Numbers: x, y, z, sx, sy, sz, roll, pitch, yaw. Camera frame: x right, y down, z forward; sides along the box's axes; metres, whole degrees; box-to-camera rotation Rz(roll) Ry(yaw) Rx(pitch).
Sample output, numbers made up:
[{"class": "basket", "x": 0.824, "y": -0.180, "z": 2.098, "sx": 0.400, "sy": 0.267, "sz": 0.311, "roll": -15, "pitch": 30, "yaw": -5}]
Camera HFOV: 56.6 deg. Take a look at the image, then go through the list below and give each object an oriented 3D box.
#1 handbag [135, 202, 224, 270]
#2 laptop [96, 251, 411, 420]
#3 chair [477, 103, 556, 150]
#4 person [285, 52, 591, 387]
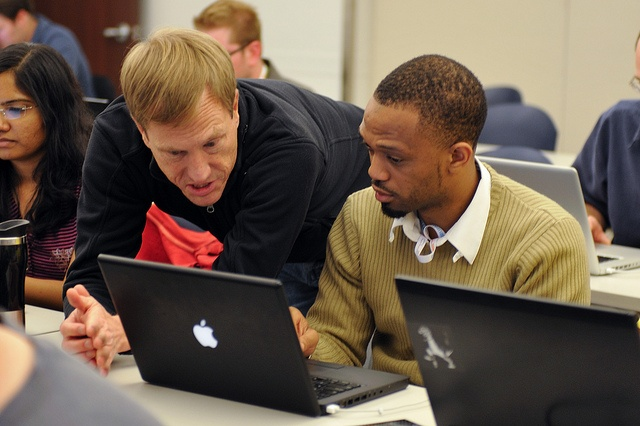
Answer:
[{"class": "handbag", "x": -0.573, "y": 0.124, "z": 2.409, "sx": 0.342, "sy": 0.137, "sz": 0.263, "roll": 9, "pitch": -3, "yaw": -40}, {"class": "laptop", "x": -0.203, "y": 0.168, "z": 1.364, "sx": 0.467, "sy": 0.316, "sz": 0.430, "roll": 4, "pitch": 9, "yaw": 38}, {"class": "chair", "x": 1.200, "y": -0.466, "z": 3.702, "sx": 0.310, "sy": 0.378, "sz": 0.423, "roll": 6, "pitch": 8, "yaw": 14}, {"class": "person", "x": 0.324, "y": 0.057, "z": 1.988, "sx": 0.805, "sy": 1.194, "sz": 0.987, "roll": -6, "pitch": 10, "yaw": -36}]
